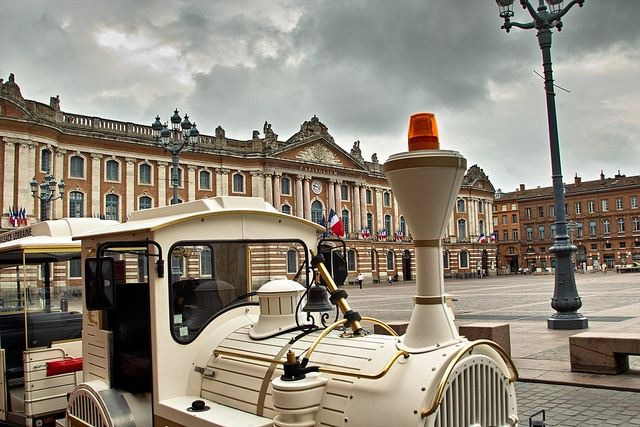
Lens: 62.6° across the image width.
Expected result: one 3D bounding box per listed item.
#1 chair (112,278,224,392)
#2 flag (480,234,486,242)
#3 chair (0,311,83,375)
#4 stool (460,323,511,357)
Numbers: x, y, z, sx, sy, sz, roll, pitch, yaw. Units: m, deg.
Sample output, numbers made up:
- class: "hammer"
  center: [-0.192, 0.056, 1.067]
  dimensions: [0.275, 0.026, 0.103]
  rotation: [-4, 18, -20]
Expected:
- class: "chair"
  center: [-1.963, 1.595, 7.645]
  dimensions: [1.386, 2.015, 1.477]
  rotation: [5, -8, -45]
- class: "flag"
  center: [22.137, 3.270, 71.588]
  dimensions: [0.760, 1.101, 0.398]
  rotation: [-3, -2, 0]
- class: "chair"
  center: [-5.082, 2.444, 10.216]
  dimensions: [1.691, 1.019, 0.996]
  rotation: [7, -14, -43]
- class: "stool"
  center: [3.404, 2.731, 11.220]
  dimensions: [0.992, 0.699, 1.011]
  rotation: [6, -13, -44]
